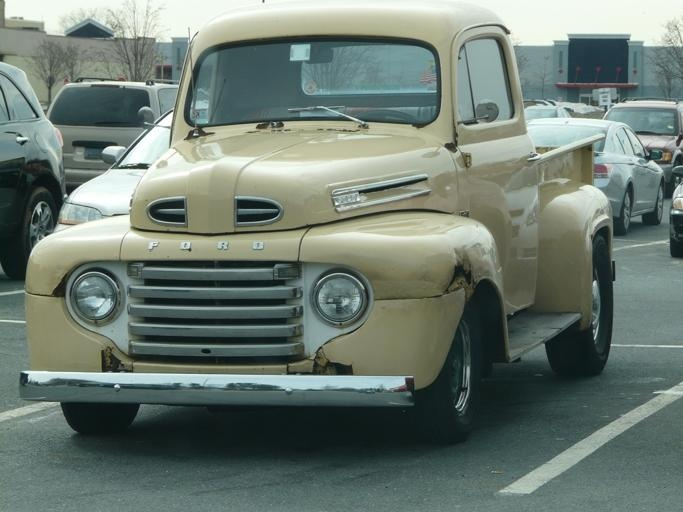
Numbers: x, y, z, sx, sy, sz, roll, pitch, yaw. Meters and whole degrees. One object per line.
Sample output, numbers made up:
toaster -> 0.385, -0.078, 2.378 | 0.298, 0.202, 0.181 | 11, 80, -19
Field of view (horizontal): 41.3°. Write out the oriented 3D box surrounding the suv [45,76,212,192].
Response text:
suv -> -4.237, -2.494, 17.946 | 1.966, 1.737, 3.400 | 1, 14, 9

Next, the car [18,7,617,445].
car -> 0.050, -0.366, 6.107 | 2.249, 2.894, 3.875 | 3, 6, 35
